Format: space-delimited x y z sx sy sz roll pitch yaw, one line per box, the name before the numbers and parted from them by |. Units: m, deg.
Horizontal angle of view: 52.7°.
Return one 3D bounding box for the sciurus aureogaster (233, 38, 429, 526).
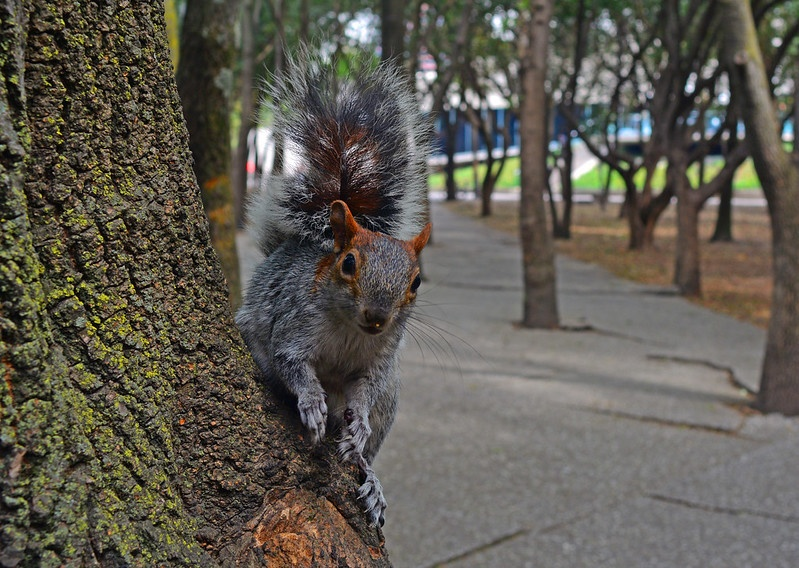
sciurus aureogaster | -0.321 -0.077 3.830 0.916 2.003 1.193 2 13 0
